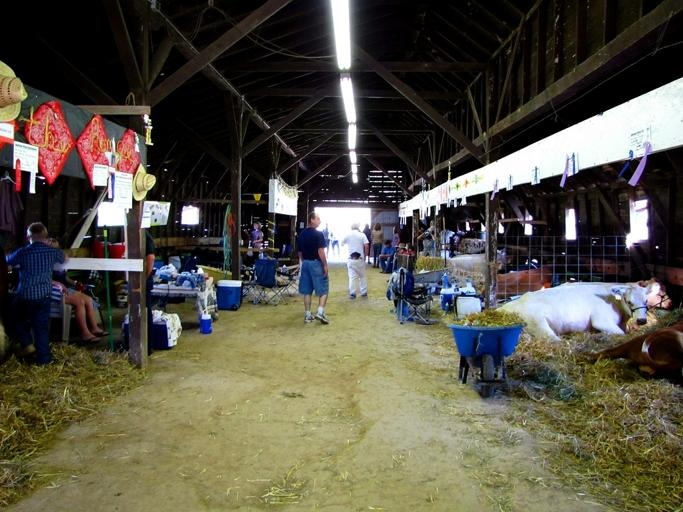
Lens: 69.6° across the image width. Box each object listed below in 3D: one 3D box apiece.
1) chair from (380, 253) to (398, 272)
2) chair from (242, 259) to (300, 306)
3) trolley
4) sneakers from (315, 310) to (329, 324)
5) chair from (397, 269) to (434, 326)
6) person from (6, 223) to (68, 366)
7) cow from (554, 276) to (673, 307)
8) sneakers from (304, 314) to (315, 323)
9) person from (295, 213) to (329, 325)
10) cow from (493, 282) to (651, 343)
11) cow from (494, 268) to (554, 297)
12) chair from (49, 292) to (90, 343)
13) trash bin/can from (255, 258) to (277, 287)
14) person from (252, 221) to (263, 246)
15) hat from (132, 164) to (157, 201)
[{"bbox_3d":[1.630,0.285,17.625,0.489,1.071,0.532,5,-7,-7],"label":"chair"},{"bbox_3d":[-1.523,0.579,11.000,1.340,0.959,0.896,-6,-4,39],"label":"chair"},{"bbox_3d":[1.575,1.149,5.447,0.494,0.570,1.078,-1,-17,7],"label":"trolley"},{"bbox_3d":[-0.328,1.080,8.541,0.120,0.173,0.352,16,-20,28],"label":"sneakers"},{"bbox_3d":[1.373,0.731,9.024,0.738,1.273,0.891,-1,2,-7],"label":"chair"},{"bbox_3d":[-3.631,0.429,5.829,0.436,1.563,0.559,0,10,0],"label":"person"},{"bbox_3d":[4.086,0.543,7.326,1.134,0.541,0.425,0,4,30],"label":"cow"},{"bbox_3d":[-0.544,1.092,8.634,0.214,0.174,0.082,-2,2,14],"label":"sneakers"},{"bbox_3d":[-0.503,0.347,8.556,0.565,1.662,0.463,2,10,14],"label":"person"},{"bbox_3d":[3.200,0.753,6.974,2.003,0.961,0.942,-7,0,-3],"label":"cow"},{"bbox_3d":[3.408,0.481,9.392,1.095,0.573,0.256,-3,-5,-20],"label":"cow"},{"bbox_3d":[-3.757,0.849,6.756,0.449,0.716,0.474,1,3,-1],"label":"chair"},{"bbox_3d":[-1.572,0.345,10.190,0.433,0.546,0.623,0,-3,6],"label":"trash bin/can"},{"bbox_3d":[-2.942,-0.729,17.036,0.349,0.815,0.731,-3,11,-14],"label":"person"},{"bbox_3d":[-2.529,-0.916,6.212,0.287,0.460,0.256,-7,12,-34],"label":"hat"}]
